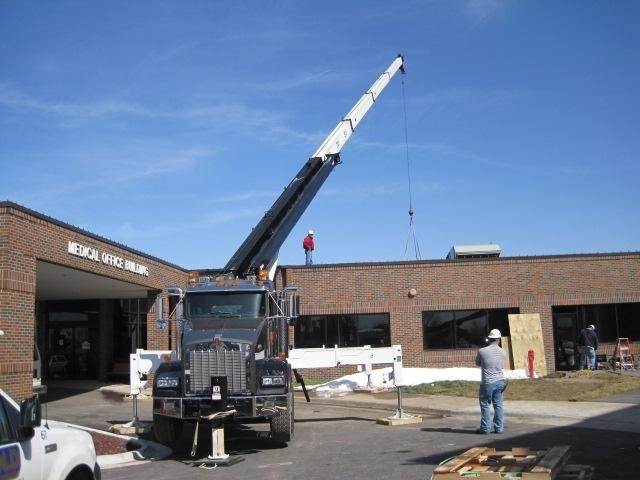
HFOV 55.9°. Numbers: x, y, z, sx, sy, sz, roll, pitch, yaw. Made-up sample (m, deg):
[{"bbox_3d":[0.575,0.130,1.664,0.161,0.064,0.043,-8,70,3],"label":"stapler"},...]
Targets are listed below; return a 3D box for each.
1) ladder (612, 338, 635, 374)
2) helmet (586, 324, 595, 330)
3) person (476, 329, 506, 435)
[{"bbox_3d":[13.691,5.333,27.197,1.103,1.662,1.155,0,-3,5],"label":"ladder"},{"bbox_3d":[12.287,4.005,27.349,0.423,0.144,0.431,1,-2,39],"label":"helmet"},{"bbox_3d":[3.857,3.173,13.468,0.592,2.216,0.816,-10,-11,37],"label":"person"}]
